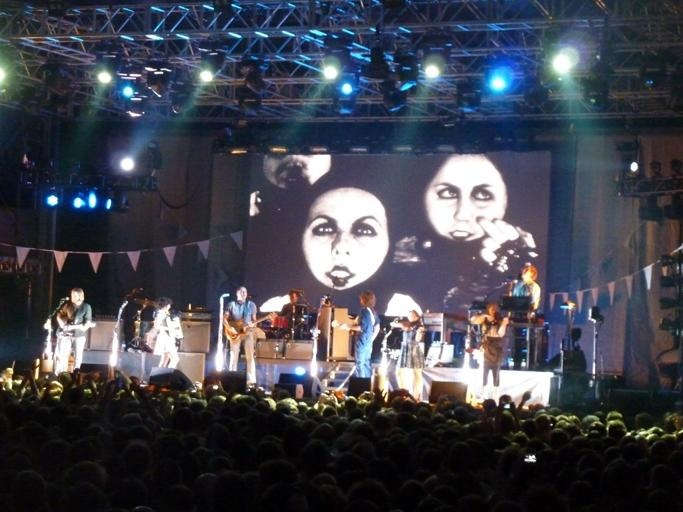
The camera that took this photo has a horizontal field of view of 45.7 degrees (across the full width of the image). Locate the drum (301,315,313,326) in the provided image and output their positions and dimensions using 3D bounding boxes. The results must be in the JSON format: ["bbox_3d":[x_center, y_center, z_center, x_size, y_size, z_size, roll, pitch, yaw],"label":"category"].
[{"bbox_3d":[-0.542,1.018,12.934,0.164,0.211,0.299,0,-6,8],"label":"drum"}]

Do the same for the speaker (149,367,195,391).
[{"bbox_3d":[-1.448,0.989,6.752,0.316,0.110,0.226,6,-5,6],"label":"speaker"}]

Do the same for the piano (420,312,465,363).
[{"bbox_3d":[1.517,1.244,12.232,0.589,0.892,0.537,-1,2,-36],"label":"piano"}]

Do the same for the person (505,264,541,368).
[{"bbox_3d":[2.501,0.869,11.242,0.501,1.775,0.418,0,2,30],"label":"person"}]

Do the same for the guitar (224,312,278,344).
[{"bbox_3d":[-1.404,1.039,11.796,0.583,0.498,0.527,0,0,27],"label":"guitar"}]

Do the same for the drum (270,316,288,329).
[{"bbox_3d":[-0.915,1.001,12.003,0.188,0.187,0.188,4,-19,-7],"label":"drum"}]

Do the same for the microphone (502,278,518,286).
[{"bbox_3d":[2.722,0.427,13.164,0.178,0.042,0.173,3,-3,-43],"label":"microphone"}]
